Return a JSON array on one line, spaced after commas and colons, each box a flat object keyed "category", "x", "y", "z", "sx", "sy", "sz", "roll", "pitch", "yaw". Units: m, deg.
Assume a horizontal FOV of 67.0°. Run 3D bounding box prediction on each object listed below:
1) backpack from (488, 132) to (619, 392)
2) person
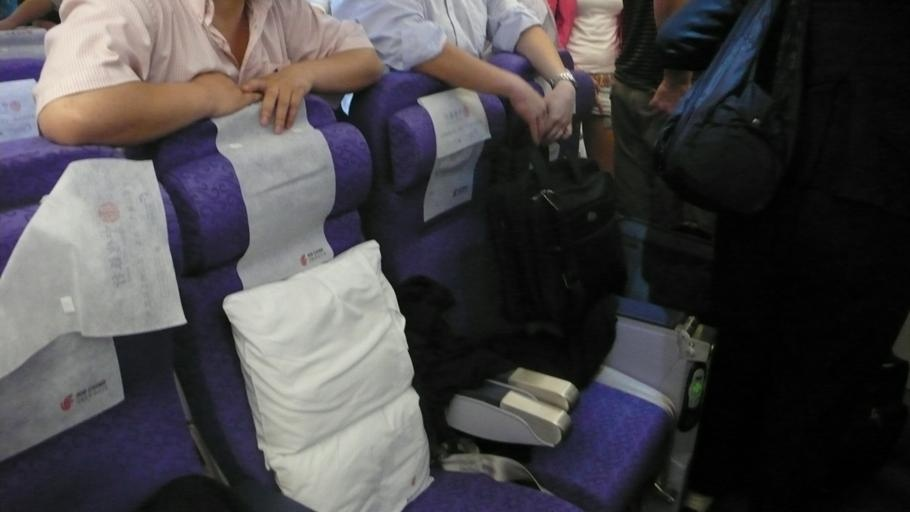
[{"category": "backpack", "x": 0.333, "y": 0.012, "z": 2.345, "sx": 0.420, "sy": 0.810, "sz": 0.550, "roll": 11, "pitch": 31, "yaw": 29}, {"category": "person", "x": 0.027, "y": -0.007, "z": 1.989, "sx": 1.369, "sy": 1.062, "sz": 1.049, "roll": 5, "pitch": 35, "yaw": 2}]
